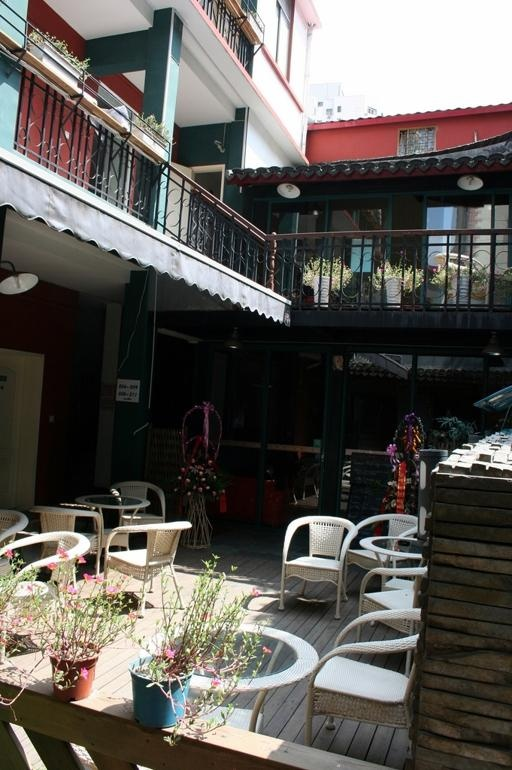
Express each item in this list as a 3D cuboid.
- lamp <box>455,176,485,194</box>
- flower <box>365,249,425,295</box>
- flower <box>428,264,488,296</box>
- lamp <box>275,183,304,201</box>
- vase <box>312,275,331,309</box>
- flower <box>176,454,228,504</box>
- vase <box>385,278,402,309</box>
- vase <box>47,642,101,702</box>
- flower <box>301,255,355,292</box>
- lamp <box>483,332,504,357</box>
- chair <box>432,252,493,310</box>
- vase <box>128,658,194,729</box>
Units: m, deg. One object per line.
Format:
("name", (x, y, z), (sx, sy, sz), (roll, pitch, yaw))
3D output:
("lamp", (3.182, -2.985, 8.676), (0.354, 0.172, 0.464), (1, -3, 22))
("flower", (2.030, -1.531, 8.336), (0.816, 1.046, 0.878), (3, 4, 19))
("flower", (2.831, -1.453, 8.106), (0.619, 0.262, 0.630), (12, 9, -34))
("lamp", (0.544, -3.176, 9.656), (0.369, 0.154, 0.536), (2, -2, 3))
("vase", (0.912, -1.305, 8.238), (0.227, 0.521, 0.722), (1, -3, 5))
("flower", (-0.714, 1.187, 7.495), (0.532, 0.402, 0.541), (7, 12, 15))
("vase", (1.871, -1.262, 8.005), (0.191, 0.479, 0.381), (1, -3, 8))
("vase", (-0.596, 0.919, 1.890), (0.135, 0.117, 0.139), (1, -4, 26))
("flower", (1.052, -1.635, 8.459), (0.622, 0.488, 0.675), (3, -5, -1))
("lamp", (2.993, -0.529, 7.471), (0.290, 0.370, 0.298), (-2, 6, -30))
("chair", (2.860, -1.434, 8.044), (0.982, 0.662, 0.517), (5, 15, 20))
("vase", (-0.290, 0.952, 1.827), (0.152, 0.124, 0.146), (4, -3, -18))
